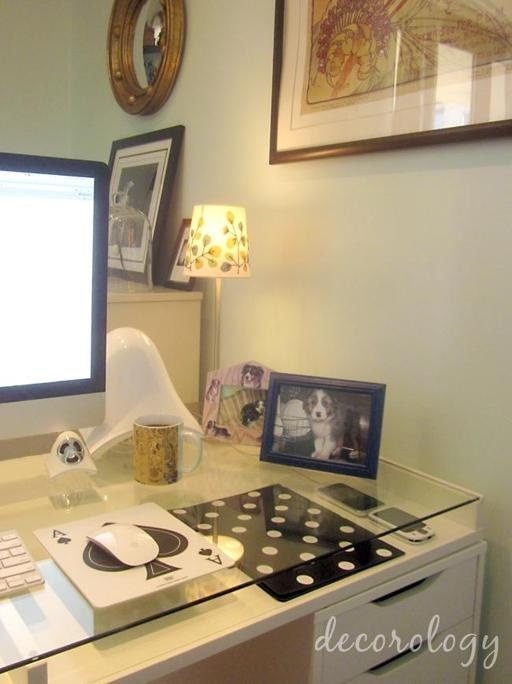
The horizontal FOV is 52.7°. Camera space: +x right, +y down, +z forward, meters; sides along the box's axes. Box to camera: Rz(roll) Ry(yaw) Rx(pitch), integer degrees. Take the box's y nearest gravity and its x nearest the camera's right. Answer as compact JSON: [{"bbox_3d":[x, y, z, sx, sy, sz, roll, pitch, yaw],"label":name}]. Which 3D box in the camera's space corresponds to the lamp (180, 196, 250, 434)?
[{"bbox_3d":[-0.088,-0.080,1.172,0.141,0.481,0.359,3,4,4],"label":"lamp"}]

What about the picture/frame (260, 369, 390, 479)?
[{"bbox_3d":[0.110,0.142,0.870,0.161,0.138,0.016,5,-10,19],"label":"picture/frame"}]

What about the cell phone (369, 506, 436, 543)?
[{"bbox_3d":[0.199,0.238,0.703,0.061,0.012,0.044,14,16,40],"label":"cell phone"}]

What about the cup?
[{"bbox_3d":[-0.142,0.167,0.831,0.125,0.095,0.078,3,0,4],"label":"cup"}]
